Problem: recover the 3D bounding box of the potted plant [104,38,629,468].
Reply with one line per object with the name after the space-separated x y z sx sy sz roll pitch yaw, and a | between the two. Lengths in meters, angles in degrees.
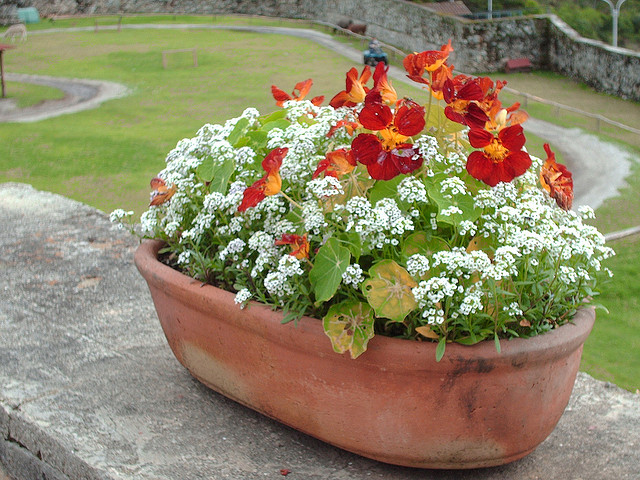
0.130 0.031 2.117 1.526 1.132 1.097 14 20 34 | potted plant
